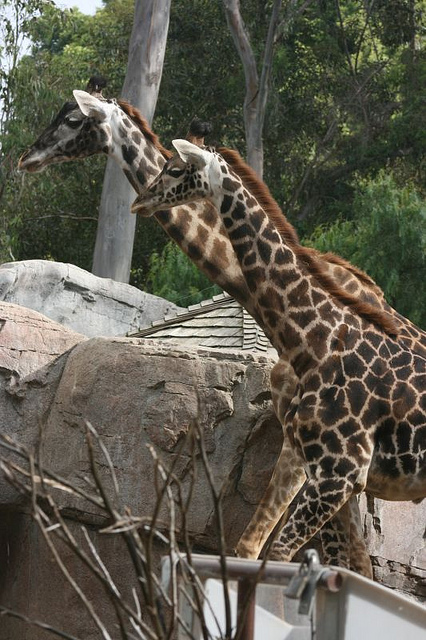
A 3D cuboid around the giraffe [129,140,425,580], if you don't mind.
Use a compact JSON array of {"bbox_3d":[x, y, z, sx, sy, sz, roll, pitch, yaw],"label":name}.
[{"bbox_3d":[0.431,0.113,5.771,1.393,2.015,0.827,9,2,43],"label":"giraffe"}]
